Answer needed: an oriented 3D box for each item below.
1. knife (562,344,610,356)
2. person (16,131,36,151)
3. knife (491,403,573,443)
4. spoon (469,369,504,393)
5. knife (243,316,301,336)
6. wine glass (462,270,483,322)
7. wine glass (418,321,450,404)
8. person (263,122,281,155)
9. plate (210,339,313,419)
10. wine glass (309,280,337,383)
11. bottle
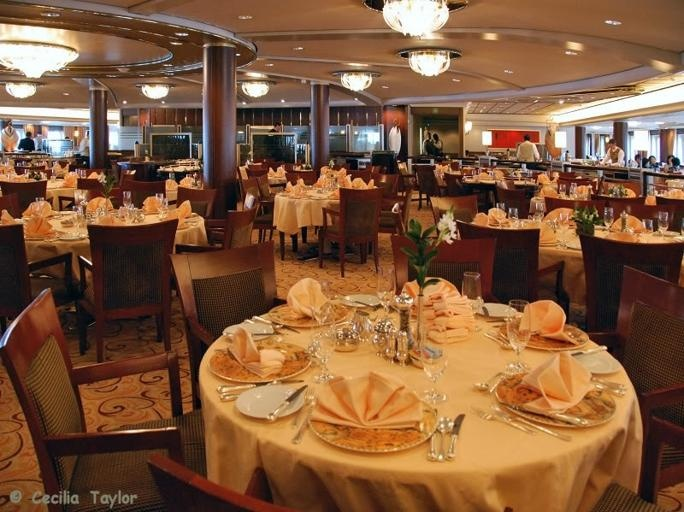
[{"bbox_3d":[0.955,0.374,2.017,0.201,0.033,0.041,-8,27,-10],"label":"knife"},{"bbox_3d":[-11.449,-4.088,18.443,0.461,0.705,1.206,-8,14,-33],"label":"person"},{"bbox_3d":[0.587,0.517,1.571,0.071,0.011,0.242,-31,33,-34],"label":"knife"},{"bbox_3d":[0.517,0.424,1.809,0.044,0.034,0.212,-2,13,30],"label":"spoon"},{"bbox_3d":[-0.321,0.307,2.286,0.298,0.027,0.087,12,20,28],"label":"knife"},{"bbox_3d":[0.599,0.172,2.320,0.082,0.230,0.243,4,12,21],"label":"wine glass"},{"bbox_3d":[0.315,0.370,1.760,0.095,0.212,0.283,1,12,9],"label":"wine glass"},{"bbox_3d":[-2.612,-4.045,18.612,0.517,0.980,0.648,-6,12,-24],"label":"person"},{"bbox_3d":[-0.288,0.444,1.831,0.220,0.050,0.247,-17,35,-35],"label":"plate"},{"bbox_3d":[-0.070,0.312,1.871,0.080,0.249,0.198,-1,11,-4],"label":"wine glass"},{"bbox_3d":[0.119,0.309,2.041,0.157,0.115,0.259,-2,10,-17],"label":"bottle"}]
